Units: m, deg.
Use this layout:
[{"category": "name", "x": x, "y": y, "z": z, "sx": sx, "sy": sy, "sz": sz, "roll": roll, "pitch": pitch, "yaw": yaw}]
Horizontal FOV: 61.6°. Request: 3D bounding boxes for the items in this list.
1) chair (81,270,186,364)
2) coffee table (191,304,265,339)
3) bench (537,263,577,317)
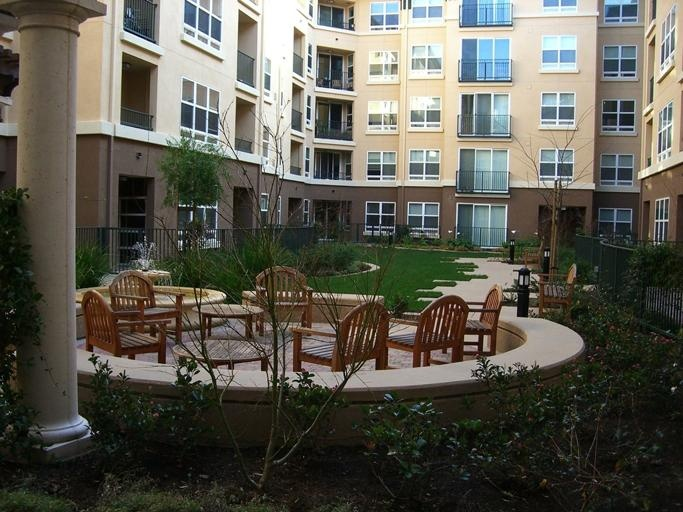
[{"category": "chair", "x": -2.472, "y": 0.780, "z": 6.866, "sx": 1.060, "sy": 1.080, "sz": 1.919, "roll": -2, "pitch": 3, "yaw": -16}, {"category": "coffee table", "x": -1.526, "y": 0.878, "z": 7.642, "sx": 0.670, "sy": 0.334, "sz": 0.734, "roll": 4, "pitch": 5, "yaw": 26}, {"category": "bench", "x": 4.290, "y": 0.703, "z": 11.439, "sx": 0.638, "sy": 1.200, "sz": 0.790, "roll": 2, "pitch": 4, "yaw": 17}]
